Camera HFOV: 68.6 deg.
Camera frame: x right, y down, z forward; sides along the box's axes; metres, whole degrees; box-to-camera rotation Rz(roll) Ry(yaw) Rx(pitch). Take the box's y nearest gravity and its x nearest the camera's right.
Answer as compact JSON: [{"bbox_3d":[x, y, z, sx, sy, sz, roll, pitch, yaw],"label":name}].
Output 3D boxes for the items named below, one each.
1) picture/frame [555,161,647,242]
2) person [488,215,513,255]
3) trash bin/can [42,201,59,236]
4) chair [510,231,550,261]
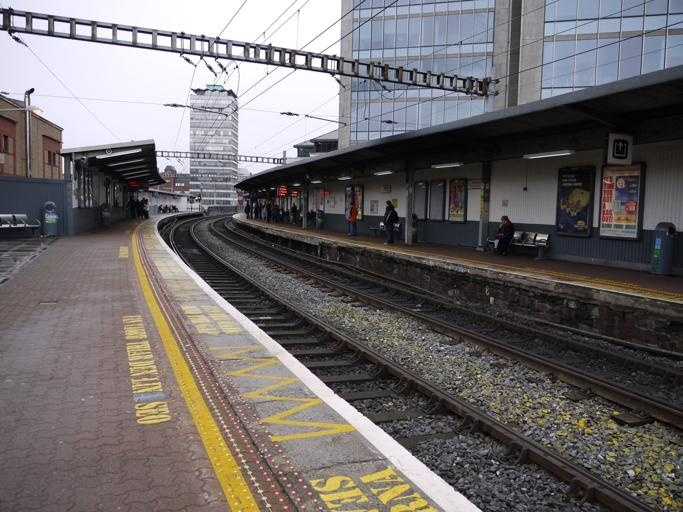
[{"bbox_3d":[6.988,-1.471,13.366,0.255,1.960,2.358,-2,4,-21],"label":"picture/frame"},{"bbox_3d":[5.210,-0.650,16.062,0.537,1.263,0.524,7,6,9],"label":"person"},{"bbox_3d":[-12.658,-1.608,21.905,0.523,1.531,0.756,11,7,36],"label":"trash bin/can"},{"bbox_3d":[5.871,-0.380,15.679,0.454,0.777,1.341,4,6,-24],"label":"chair"}]
